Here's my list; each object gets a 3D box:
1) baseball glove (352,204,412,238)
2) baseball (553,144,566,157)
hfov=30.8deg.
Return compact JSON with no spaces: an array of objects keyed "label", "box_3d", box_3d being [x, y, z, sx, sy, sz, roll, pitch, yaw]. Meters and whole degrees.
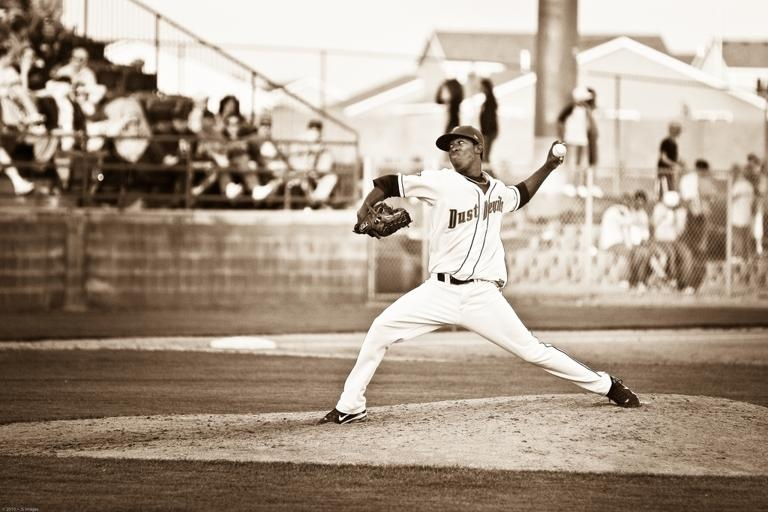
[{"label":"baseball glove","box_3d":[-0.040,-0.502,20.546,0.374,0.274,0.585,3,-16,-32]},{"label":"baseball","box_3d":[2.568,-1.558,20.660,0.184,0.189,0.179,-31,2,4]}]
